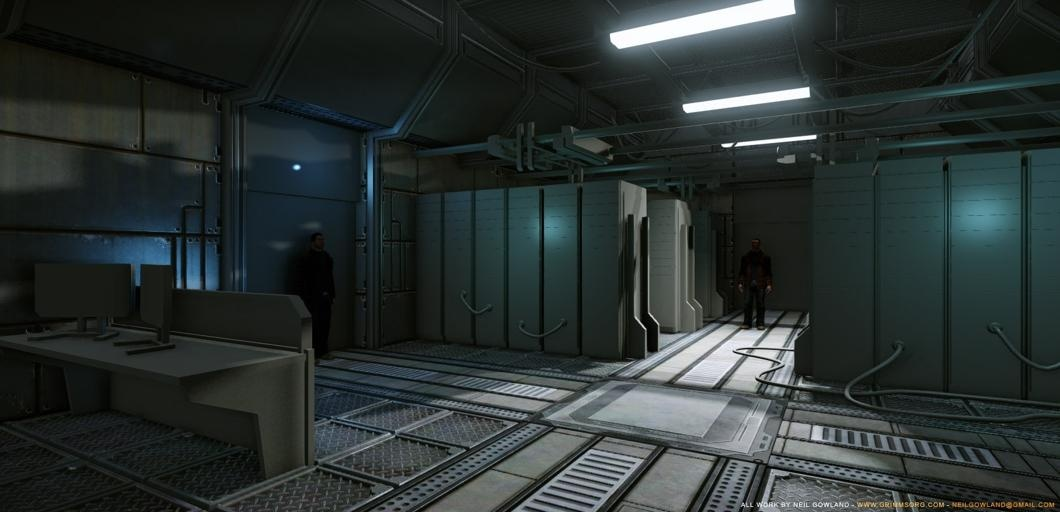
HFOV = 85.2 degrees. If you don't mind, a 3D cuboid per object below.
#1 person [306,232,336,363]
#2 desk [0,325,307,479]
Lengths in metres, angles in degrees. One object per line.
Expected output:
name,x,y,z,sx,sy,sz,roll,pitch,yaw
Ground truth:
person,-5.148,0.971,14.051,0.385,3.039,0.597,-1,3,28
desk,-6.169,2.595,10.090,4.443,2.369,1.413,-1,3,18
